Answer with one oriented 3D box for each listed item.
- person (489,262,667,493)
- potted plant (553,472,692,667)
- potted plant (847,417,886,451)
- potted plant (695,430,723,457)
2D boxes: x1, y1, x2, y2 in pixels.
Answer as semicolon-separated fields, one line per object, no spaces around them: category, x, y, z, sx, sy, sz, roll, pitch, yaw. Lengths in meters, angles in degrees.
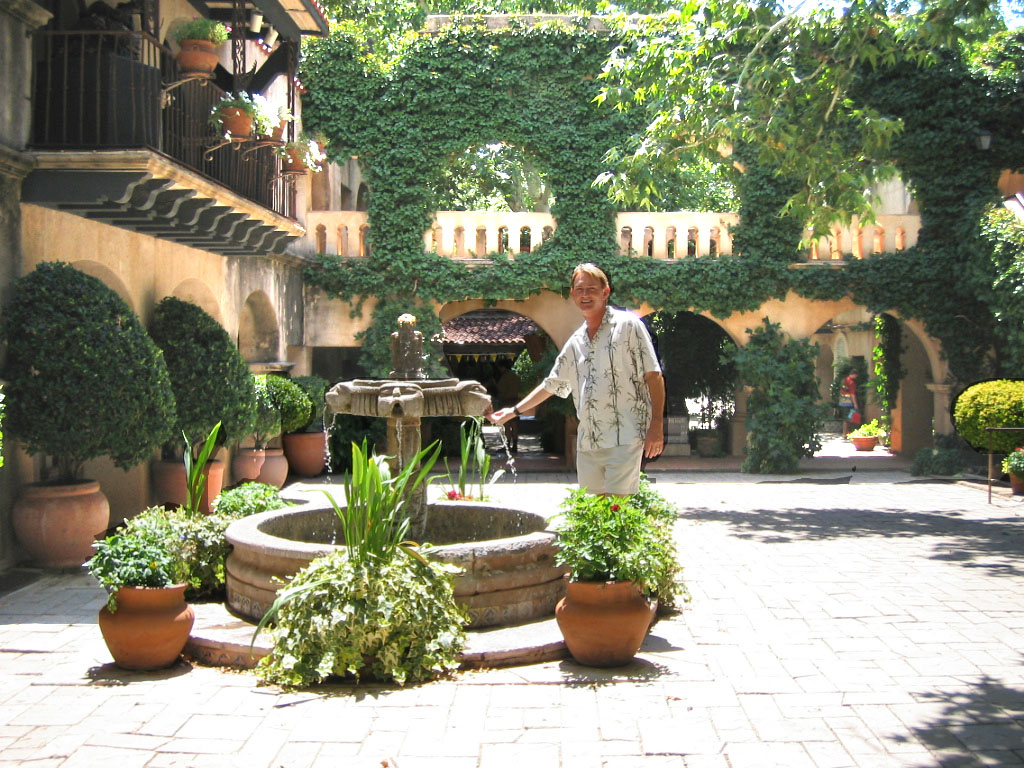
person;0.681;-0.029;8.335;0.974;1.781;0.500;1;4;13
potted plant;0.814;1.387;8.145;1.295;1.686;1.142;1;3;14
potted plant;7.761;1.160;23.423;0.733;0.556;0.766;0;-6;-1
potted plant;3.928;1.169;21.268;0.462;0.489;0.505;2;-15;-2
